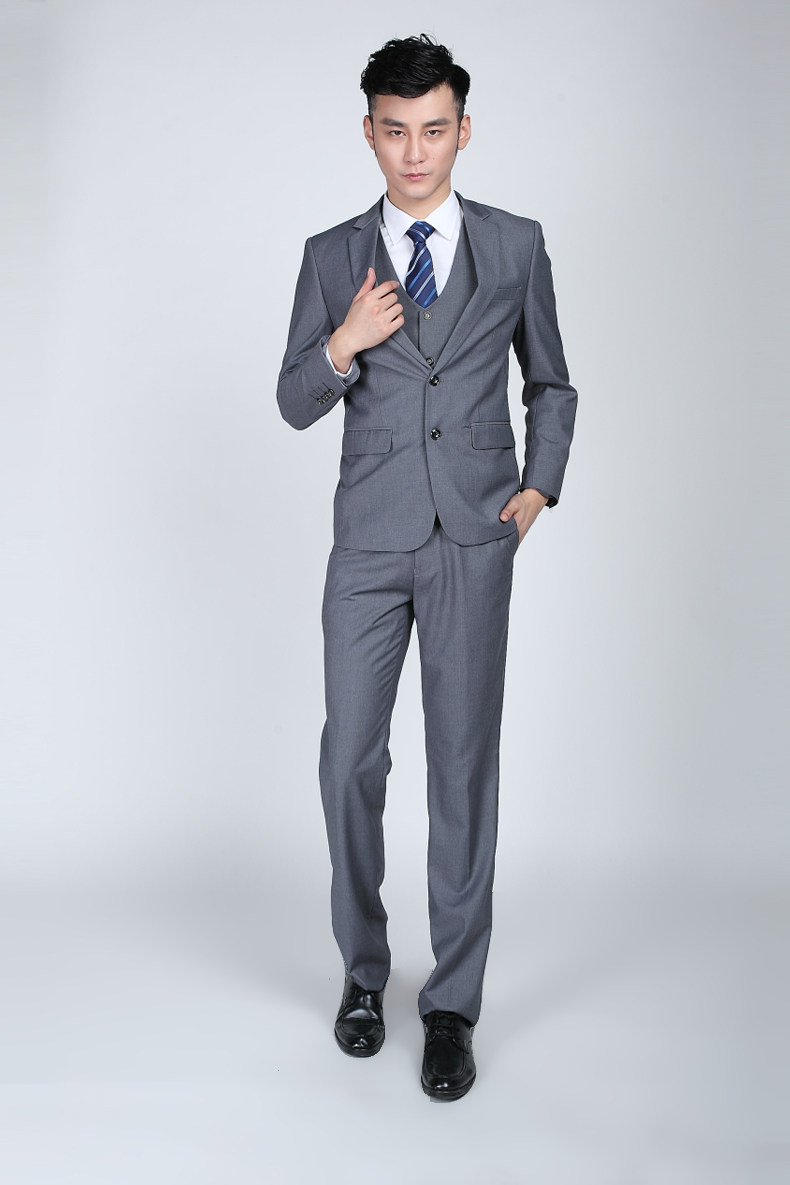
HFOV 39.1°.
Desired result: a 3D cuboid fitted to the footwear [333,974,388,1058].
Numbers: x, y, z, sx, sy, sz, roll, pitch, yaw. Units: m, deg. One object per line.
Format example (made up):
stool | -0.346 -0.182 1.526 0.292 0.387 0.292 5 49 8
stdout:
footwear | -0.057 0.746 1.998 0.081 0.208 0.076 5 -78 1
